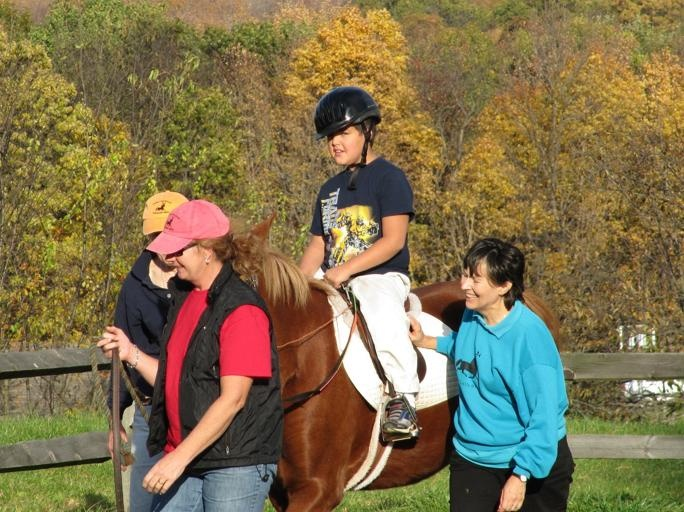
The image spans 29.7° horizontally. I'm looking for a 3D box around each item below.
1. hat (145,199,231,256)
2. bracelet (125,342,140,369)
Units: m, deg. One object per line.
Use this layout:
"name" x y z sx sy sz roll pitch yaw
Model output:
"hat" -2.740 -0.500 23.071 1.262 0.578 0.855 -17 15 -24
"bracelet" -3.758 1.763 23.320 0.088 0.376 0.253 6 -1 -42
